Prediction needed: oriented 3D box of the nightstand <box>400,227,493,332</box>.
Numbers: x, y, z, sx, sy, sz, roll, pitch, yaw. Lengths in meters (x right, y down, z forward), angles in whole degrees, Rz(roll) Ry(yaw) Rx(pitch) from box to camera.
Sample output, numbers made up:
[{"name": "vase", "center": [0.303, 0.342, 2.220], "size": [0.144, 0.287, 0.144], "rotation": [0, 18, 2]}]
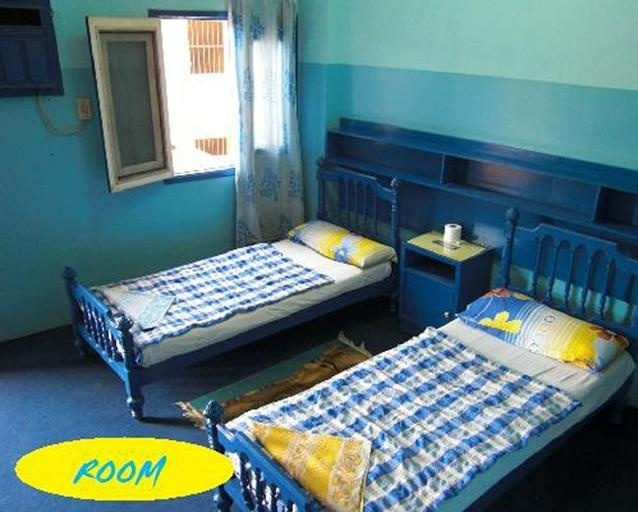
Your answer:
[{"name": "nightstand", "center": [1.133, 0.325, 4.557], "size": [0.488, 0.881, 0.670], "rotation": [-21, 28, -37]}]

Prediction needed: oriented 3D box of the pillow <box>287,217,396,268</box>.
[{"name": "pillow", "center": [0.159, -0.135, 4.884], "size": [0.440, 0.156, 0.880], "rotation": [-24, 32, -33]}]

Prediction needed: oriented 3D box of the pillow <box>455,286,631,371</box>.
[{"name": "pillow", "center": [1.549, 0.495, 3.571], "size": [0.488, 0.199, 0.796], "rotation": [-26, 33, -34]}]
